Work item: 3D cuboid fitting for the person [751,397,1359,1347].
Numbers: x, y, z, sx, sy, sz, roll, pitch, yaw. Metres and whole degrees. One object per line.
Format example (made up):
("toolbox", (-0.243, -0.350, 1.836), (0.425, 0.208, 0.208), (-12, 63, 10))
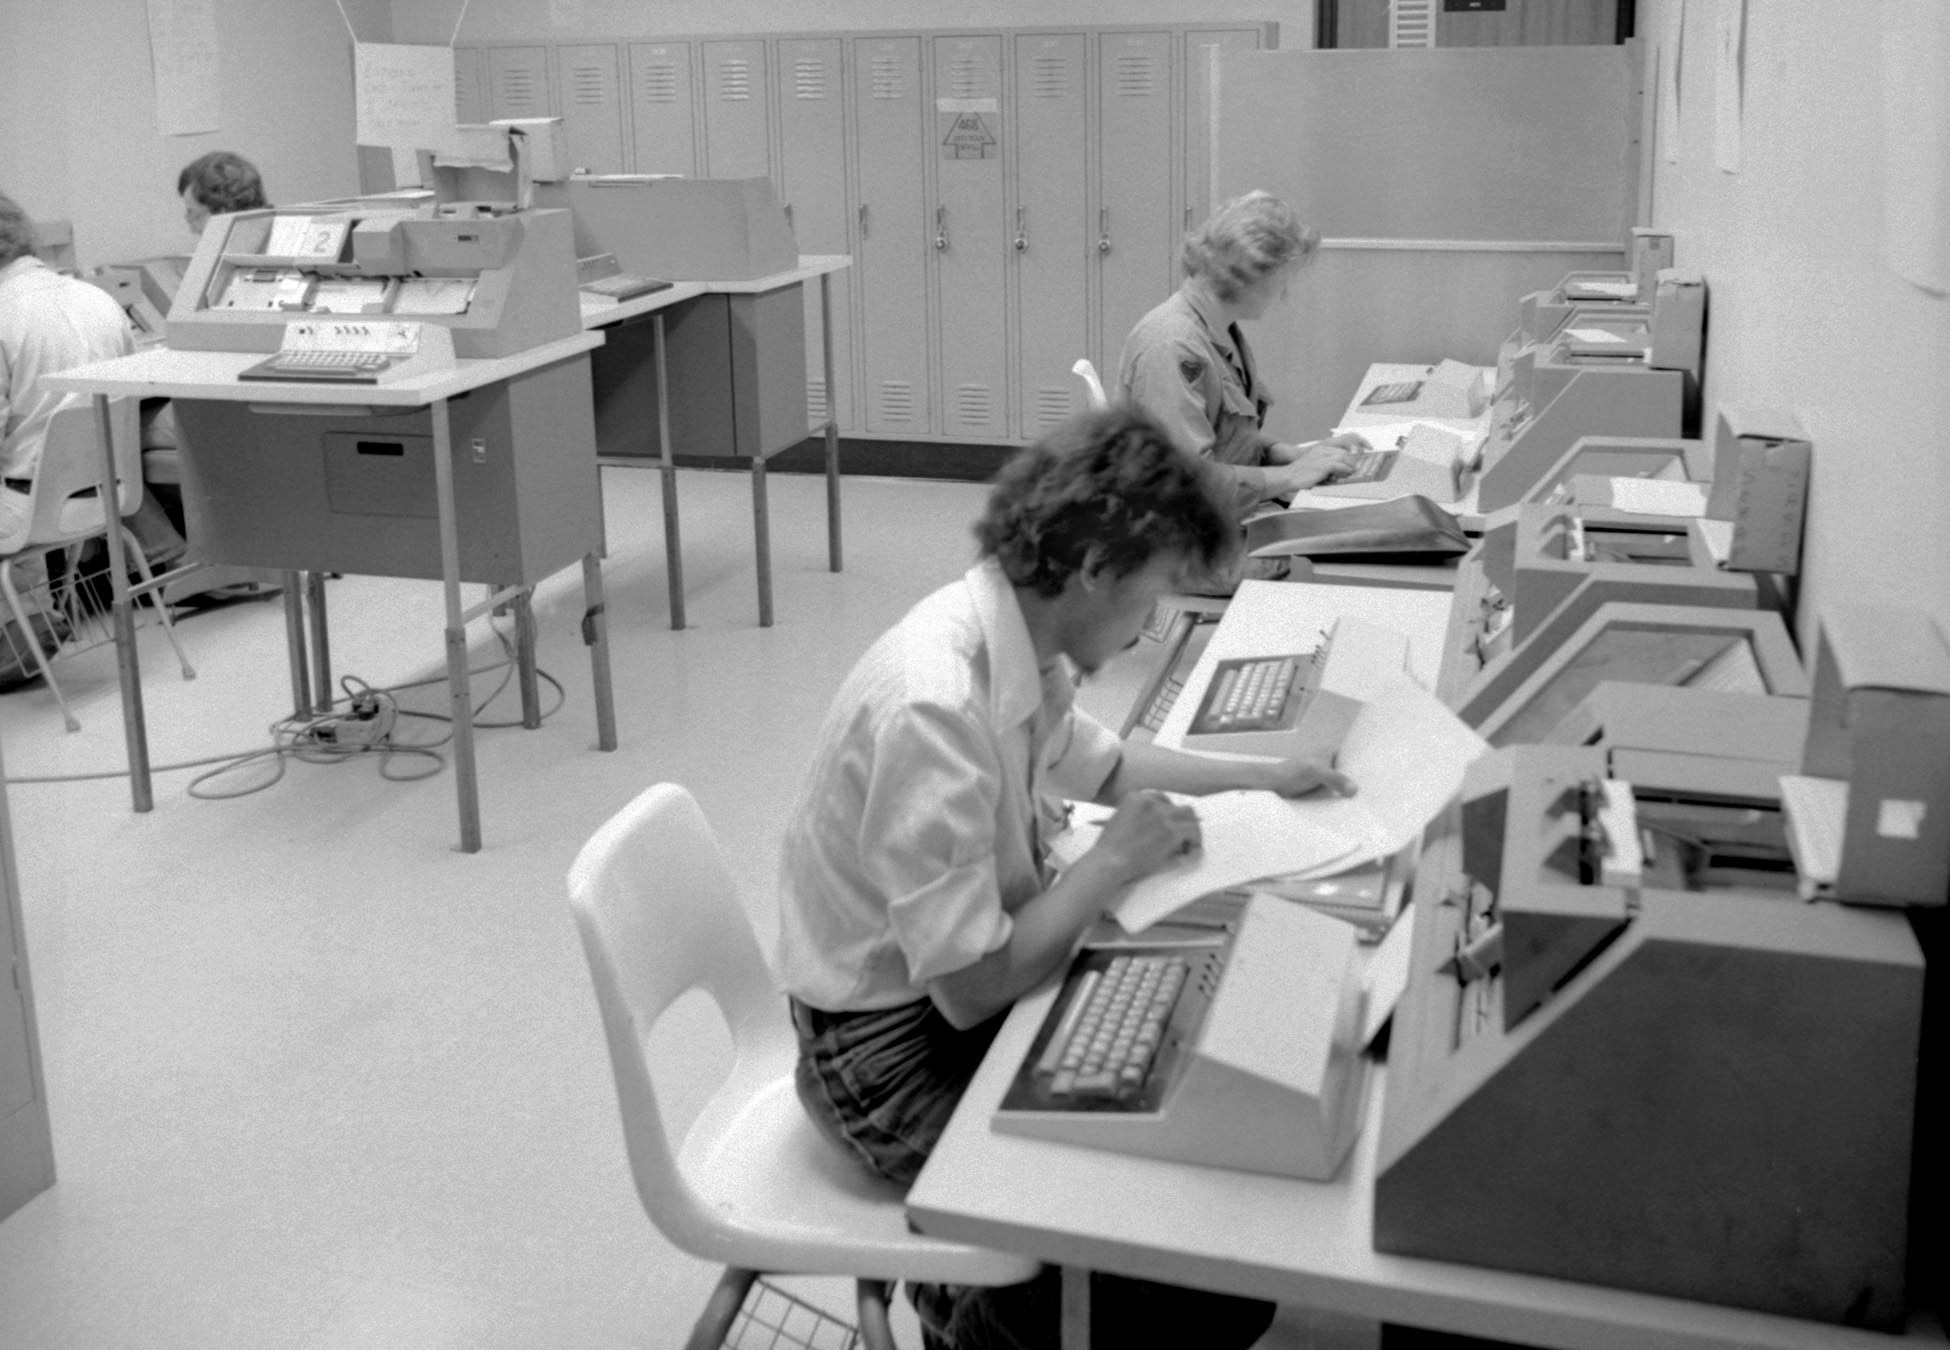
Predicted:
("person", (0.020, 0.041, 2.566), (1.088, 1.992, 1.005), (0, 19, 1))

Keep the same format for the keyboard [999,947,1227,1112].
("keyboard", (0.164, 0.433, 1.690), (0.142, 0.035, 0.236), (-4, 31, 19))

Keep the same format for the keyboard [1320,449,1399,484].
("keyboard", (1.134, -0.598, 4.072), (0.114, 0.045, 0.180), (0, 35, 24))

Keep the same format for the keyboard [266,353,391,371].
("keyboard", (-1.772, -0.870, 3.878), (0.175, 0.031, 0.129), (0, 31, -4))

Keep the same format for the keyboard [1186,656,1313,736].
("keyboard", (0.469, 0.039, 2.408), (0.149, 0.044, 0.174), (-9, 29, 28))
